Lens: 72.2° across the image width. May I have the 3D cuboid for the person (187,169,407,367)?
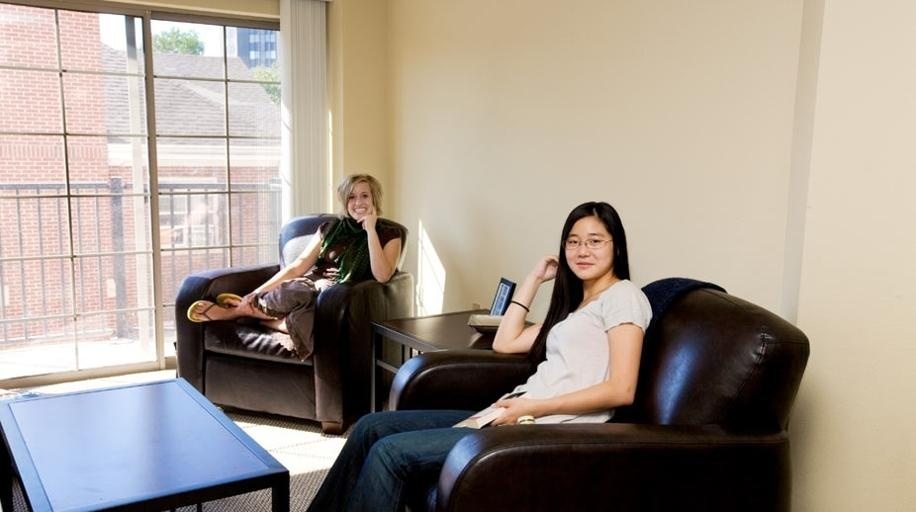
[{"bbox_3d":[-1.069,-0.015,4.457,0.969,0.984,1.395,12,16,35],"label":"person"}]

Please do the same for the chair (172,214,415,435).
[{"bbox_3d":[-1.105,0.313,4.843,1.678,1.522,1.523,3,3,26],"label":"chair"}]

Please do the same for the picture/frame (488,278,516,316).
[{"bbox_3d":[0.284,0.258,4.004,0.022,0.278,0.215,25,-21,-22],"label":"picture/frame"}]
